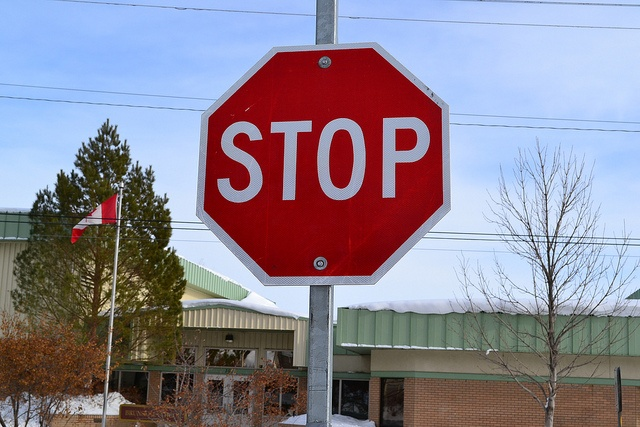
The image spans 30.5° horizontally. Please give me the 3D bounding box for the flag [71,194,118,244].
[{"bbox_3d":[-11.548,0.187,60.076,2.151,2.632,3.573,3,-16,-13],"label":"flag"}]
